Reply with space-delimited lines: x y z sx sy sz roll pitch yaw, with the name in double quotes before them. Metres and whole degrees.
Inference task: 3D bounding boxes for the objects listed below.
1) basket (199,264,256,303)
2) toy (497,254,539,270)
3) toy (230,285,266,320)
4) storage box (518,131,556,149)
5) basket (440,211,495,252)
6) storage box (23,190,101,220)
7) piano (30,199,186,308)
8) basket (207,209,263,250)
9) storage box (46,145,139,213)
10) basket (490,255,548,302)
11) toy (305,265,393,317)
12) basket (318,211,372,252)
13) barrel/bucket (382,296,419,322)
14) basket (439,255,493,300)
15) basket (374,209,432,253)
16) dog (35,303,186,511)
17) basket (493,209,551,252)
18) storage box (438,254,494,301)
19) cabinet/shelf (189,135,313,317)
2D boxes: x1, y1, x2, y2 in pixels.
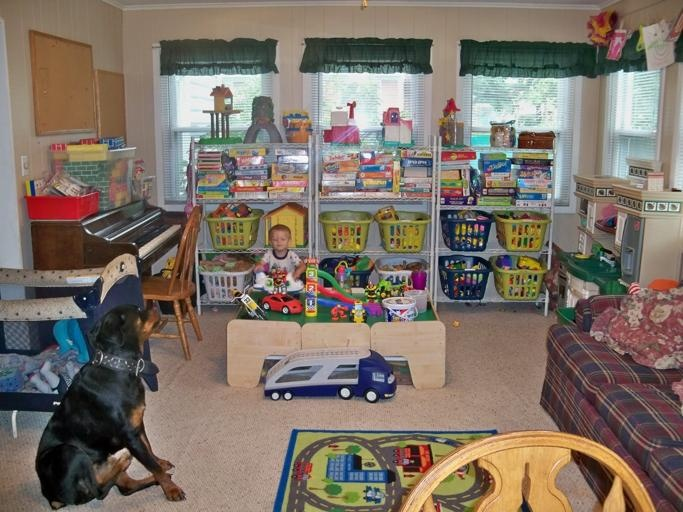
"basket" -1.122 0.291 5.618 0.467 0.258 0.345 10 4 13
"toy" 1.756 0.068 5.633 0.268 0.091 0.188 0 10 -4
"toy" -0.675 0.341 4.196 0.206 0.165 0.496 -7 15 -26
"storage box" 1.904 -1.119 5.463 0.339 0.158 0.122 4 14 18
"basket" 1.308 -0.212 5.642 0.321 0.203 0.282 -19 18 -32
"storage box" -2.197 -0.382 4.414 0.344 0.134 0.272 -3 10 -11
"piano" -1.955 0.012 5.052 0.771 0.940 1.422 -1 13 -1
"basket" -1.043 -0.244 5.426 0.348 0.238 0.455 0 10 0
"storage box" -2.199 -0.824 5.155 0.515 0.688 0.915 -1 25 -2
"basket" 1.902 0.198 5.715 0.607 0.332 0.467 15 -6 -16
"toy" 0.082 0.261 4.279 0.448 0.162 0.306 15 -1 -10
"basket" 0.078 -0.206 5.663 0.528 0.333 0.435 1 3 -23
"barrel/bucket" 0.441 0.388 4.112 0.253 0.143 0.285 1 13 6
"basket" 1.262 0.218 5.695 0.471 0.306 0.400 -4 10 -17
"basket" 0.620 -0.278 5.708 0.600 0.350 0.480 2 -16 -2
"dog" -1.119 0.647 3.231 0.965 1.309 0.724 0 13 -21
"basket" 1.808 -0.256 5.675 0.531 0.381 0.447 3 14 15
"storage box" 1.243 0.208 5.619 0.411 0.309 0.483 -1 3 -8
"cabinet/shelf" -0.820 -0.824 5.742 1.200 1.822 0.610 -1 8 2
